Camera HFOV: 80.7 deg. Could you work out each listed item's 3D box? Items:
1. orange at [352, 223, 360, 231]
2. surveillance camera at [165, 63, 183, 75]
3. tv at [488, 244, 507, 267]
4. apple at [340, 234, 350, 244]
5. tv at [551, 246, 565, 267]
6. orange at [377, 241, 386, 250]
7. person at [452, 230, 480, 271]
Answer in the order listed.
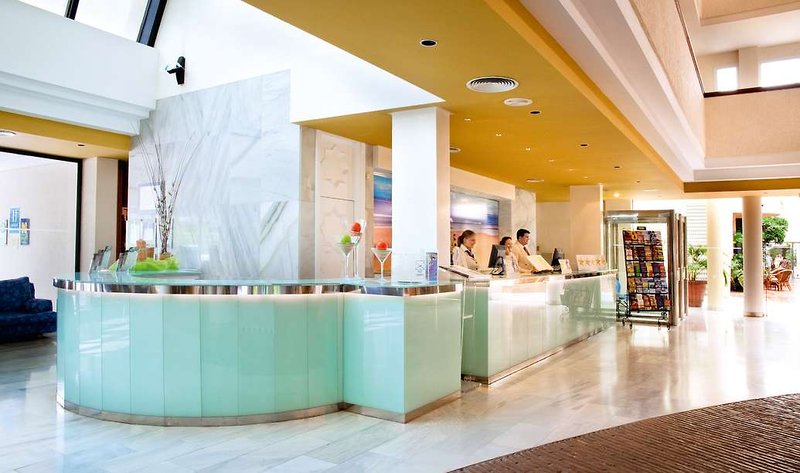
[{"bbox_3d":[-0.648,-0.142,6.709,0.120,0.108,0.135,-15,-7,1],"label":"orange"},{"bbox_3d":[-4.802,-3.539,9.881,0.469,0.188,0.210,4,5,44],"label":"surveillance camera"},{"bbox_3d":[1.876,0.412,9.174,0.282,0.470,0.507,1,4,10],"label":"tv"},{"bbox_3d":[-0.796,0.045,6.662,0.133,0.106,0.128,-3,5,-43],"label":"apple"},{"bbox_3d":[4.273,0.539,12.753,0.188,0.412,0.489,-3,-2,31],"label":"tv"},{"bbox_3d":[-0.269,0.134,6.596,0.115,0.110,0.120,-1,-4,20],"label":"orange"},{"bbox_3d":[1.359,0.299,9.976,0.333,1.009,0.990,-1,1,27],"label":"person"}]
